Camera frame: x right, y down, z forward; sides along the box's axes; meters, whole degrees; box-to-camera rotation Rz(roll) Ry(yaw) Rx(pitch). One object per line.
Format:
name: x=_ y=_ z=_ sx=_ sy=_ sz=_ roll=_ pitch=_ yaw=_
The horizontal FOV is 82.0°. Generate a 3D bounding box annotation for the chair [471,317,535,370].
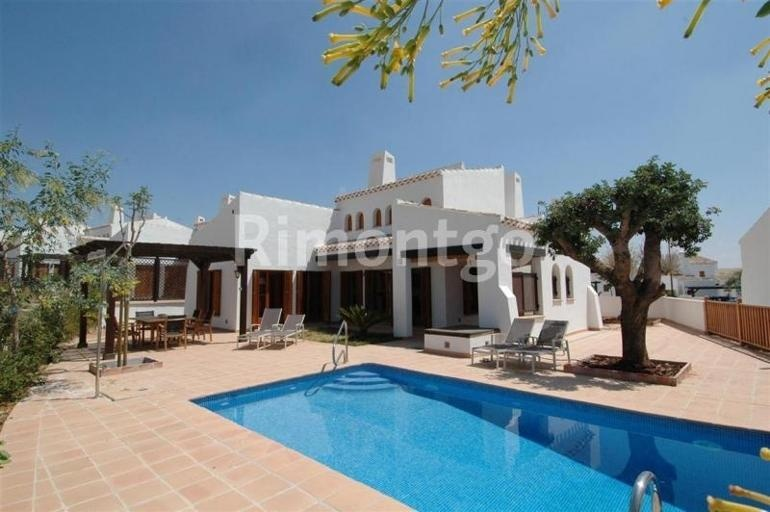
chair: x=3.402 y=2.499 z=13.538 sx=2.050 sy=1.351 sz=1.114 roll=6 pitch=-9 yaw=-40

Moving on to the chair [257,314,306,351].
chair: x=-3.969 y=2.788 z=16.848 sx=1.527 sy=1.098 sz=2.180 roll=0 pitch=-5 yaw=-6
